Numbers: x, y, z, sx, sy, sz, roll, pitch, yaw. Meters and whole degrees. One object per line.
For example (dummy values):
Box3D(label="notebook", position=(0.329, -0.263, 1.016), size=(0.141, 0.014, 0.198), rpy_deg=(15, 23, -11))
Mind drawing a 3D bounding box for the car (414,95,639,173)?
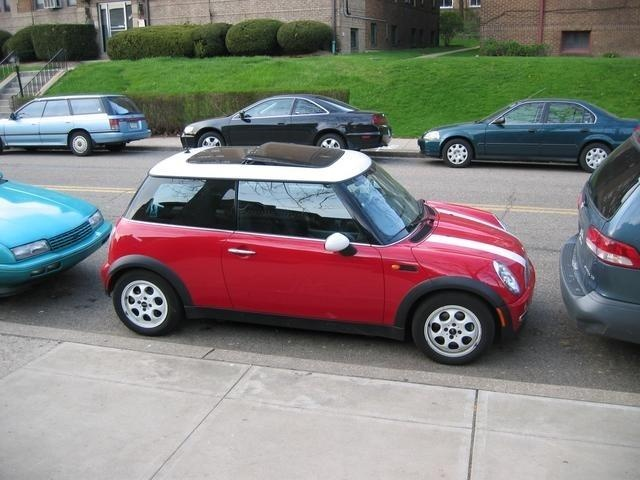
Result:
Box3D(label="car", position=(5.772, -2.977, 13.976), size=(6.289, 1.690, 2.432), rpy_deg=(2, 16, 11))

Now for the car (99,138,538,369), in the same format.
Box3D(label="car", position=(-0.077, 0.096, 5.084), size=(4.282, 1.519, 2.042), rpy_deg=(1, 31, 8))
